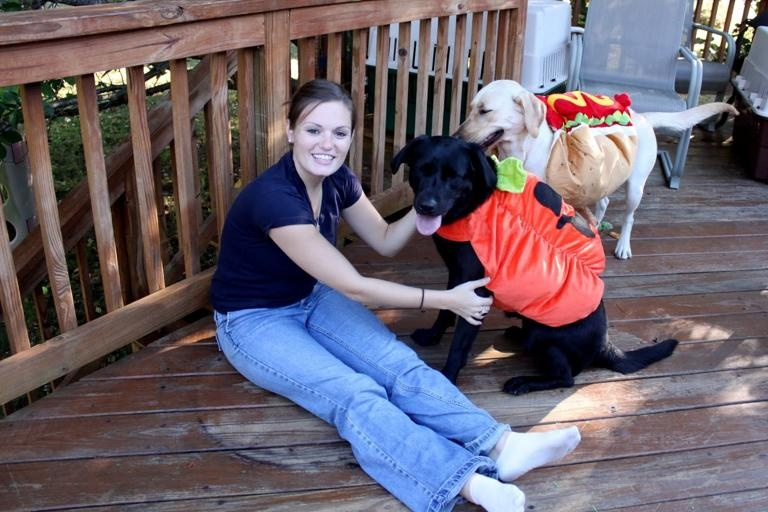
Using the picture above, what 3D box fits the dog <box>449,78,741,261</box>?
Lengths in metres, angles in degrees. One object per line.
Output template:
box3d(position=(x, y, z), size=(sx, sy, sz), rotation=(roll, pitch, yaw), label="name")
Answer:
box3d(position=(1.308, -0.534, 3.547), size=(2.055, 0.994, 0.675), rotation=(-12, 29, -24), label="dog")

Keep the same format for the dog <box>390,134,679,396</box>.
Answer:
box3d(position=(0.670, 0.040, 2.704), size=(1.307, 0.909, 0.553), rotation=(6, 14, 4), label="dog")
